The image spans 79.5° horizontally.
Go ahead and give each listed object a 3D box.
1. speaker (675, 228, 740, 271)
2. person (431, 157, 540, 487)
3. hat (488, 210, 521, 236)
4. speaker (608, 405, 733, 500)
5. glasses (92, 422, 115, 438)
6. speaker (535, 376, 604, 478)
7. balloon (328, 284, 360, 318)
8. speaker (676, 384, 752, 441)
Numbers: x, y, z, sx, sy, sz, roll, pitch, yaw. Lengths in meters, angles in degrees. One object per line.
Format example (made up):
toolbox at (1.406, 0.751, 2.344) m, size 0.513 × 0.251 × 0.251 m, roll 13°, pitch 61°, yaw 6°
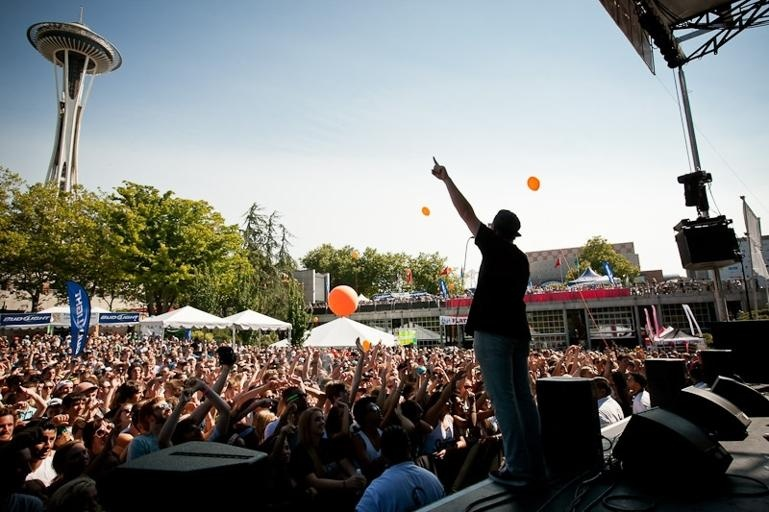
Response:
speaker at (6.552, -0.171, 9.377) m, size 0.711 × 0.698 × 0.364 m, roll -6°, pitch -13°, yaw 11°
person at (1.041, 0.645, 4.229) m, size 0.781 × 2.738 × 0.438 m, roll -1°, pitch -7°, yaw 0°
hat at (1.068, -0.269, 4.071) m, size 0.202 × 0.151 × 0.284 m, roll 24°, pitch 34°, yaw -5°
speaker at (2.589, 1.700, 4.189) m, size 0.666 × 0.500 × 0.677 m, roll 14°, pitch -19°, yaw -43°
glasses at (-3.287, 2.025, 5.410) m, size 0.171 × 0.058 × 0.172 m, roll -7°, pitch -4°, yaw 28°
speaker at (1.762, 1.659, 4.431) m, size 0.566 × 1.093 × 0.374 m, roll -10°, pitch -20°, yaw 19°
balloon at (-0.839, 0.882, 9.215) m, size 0.504 × 0.571 × 0.859 m, roll 0°, pitch -7°, yaw -8°
speaker at (3.459, 1.650, 4.864) m, size 0.754 × 0.398 × 0.566 m, roll 8°, pitch -2°, yaw 2°
